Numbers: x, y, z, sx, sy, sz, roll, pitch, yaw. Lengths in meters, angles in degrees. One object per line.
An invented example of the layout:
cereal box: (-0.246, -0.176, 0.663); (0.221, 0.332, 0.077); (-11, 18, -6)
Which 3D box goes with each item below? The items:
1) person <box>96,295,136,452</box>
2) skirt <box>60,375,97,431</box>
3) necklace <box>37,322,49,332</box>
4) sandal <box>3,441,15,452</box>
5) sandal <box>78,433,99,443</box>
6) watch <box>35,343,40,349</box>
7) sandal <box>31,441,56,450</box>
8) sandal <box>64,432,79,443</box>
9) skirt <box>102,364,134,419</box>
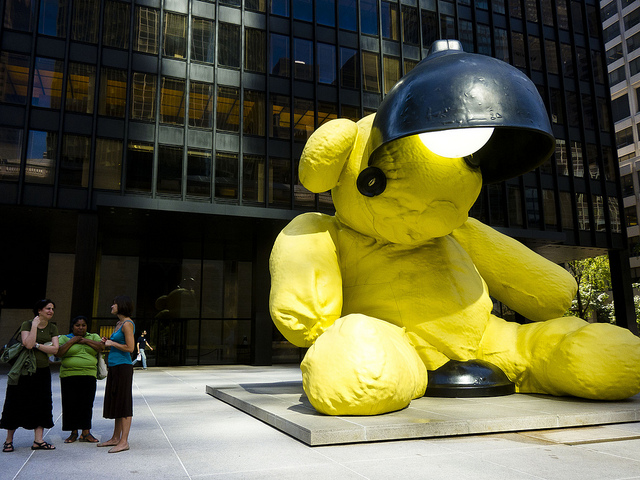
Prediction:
person: (-2.530, 1.628, 6.495); (0.446, 1.827, 0.591); (-1, -2, -23)
skirt: (-3.101, 2.078, 6.747); (0.407, 0.704, 0.239); (-1, -2, -27)
necklace: (-3.545, 1.118, 6.728); (0.053, 0.103, 0.172); (-3, -2, 10)
sandal: (-3.735, 2.482, 6.274); (0.067, 0.047, 0.176); (1, -15, -9)
sandal: (-2.978, 2.541, 6.745); (0.287, 0.131, 0.098); (6, -8, -9)
watch: (-3.481, 1.318, 6.477); (0.038, 0.067, 0.036); (2, -7, -21)
sandal: (-3.337, 2.489, 6.327); (0.255, 0.103, 0.110); (1, -8, -6)
sandal: (-3.198, 2.544, 6.743); (0.099, 0.128, 0.329); (-2, -16, 11)
skirt: (-2.494, 1.848, 6.464); (0.345, 0.636, 0.299); (-2, -2, -12)
